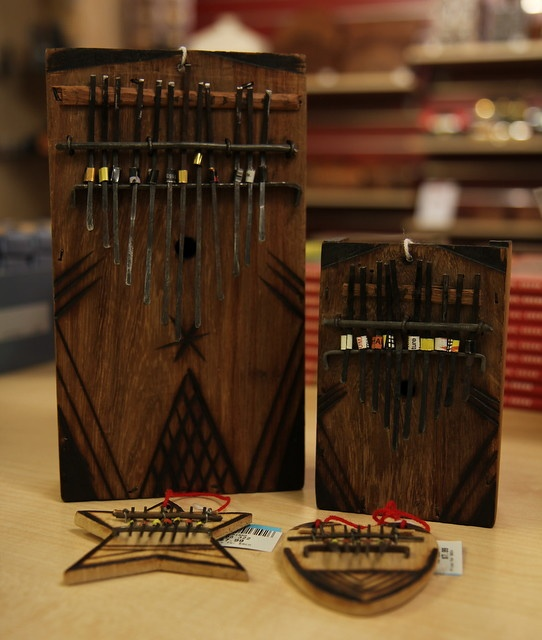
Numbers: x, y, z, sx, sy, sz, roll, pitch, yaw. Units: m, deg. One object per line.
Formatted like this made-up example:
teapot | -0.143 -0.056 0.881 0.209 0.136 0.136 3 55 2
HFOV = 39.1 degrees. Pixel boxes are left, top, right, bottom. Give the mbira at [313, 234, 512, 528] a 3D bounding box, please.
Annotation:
mbira | 0.192 0.087 1.090 0.245 0.441 0.068 2 22 11

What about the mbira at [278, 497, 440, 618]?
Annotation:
mbira | 0.108 0.304 0.934 0.193 0.065 0.153 5 6 0

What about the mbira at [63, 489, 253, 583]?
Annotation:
mbira | -0.151 0.294 1.012 0.249 0.063 0.166 5 6 -2

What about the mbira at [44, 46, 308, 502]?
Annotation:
mbira | -0.131 -0.051 1.150 0.379 0.753 0.054 -3 26 -17
